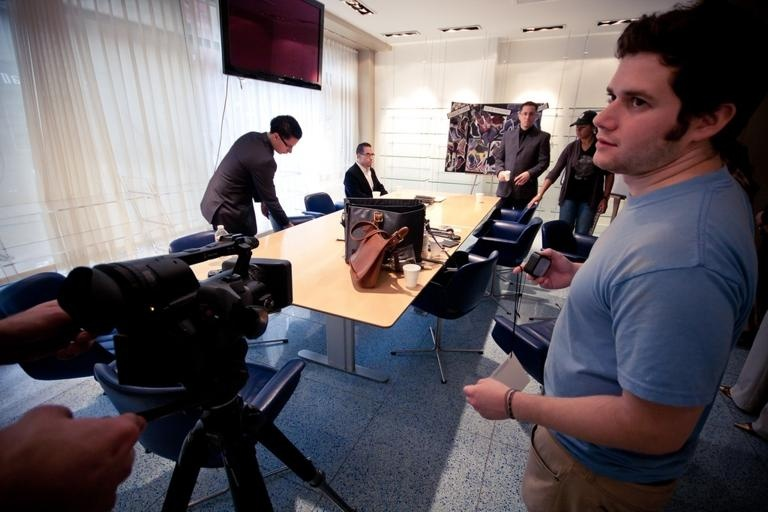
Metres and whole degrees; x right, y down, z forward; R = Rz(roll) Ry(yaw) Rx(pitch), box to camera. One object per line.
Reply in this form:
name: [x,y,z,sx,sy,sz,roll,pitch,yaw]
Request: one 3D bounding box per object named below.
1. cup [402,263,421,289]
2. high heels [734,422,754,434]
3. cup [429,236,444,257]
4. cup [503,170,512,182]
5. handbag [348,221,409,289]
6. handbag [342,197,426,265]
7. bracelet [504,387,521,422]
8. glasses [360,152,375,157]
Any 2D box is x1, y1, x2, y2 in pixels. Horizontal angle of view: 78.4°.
cup: [0.150,0.112,2.697,0.125,0.125,0.120,2,23,-1]
high heels: [2.178,1.035,2.840,0.034,0.037,0.101,-27,26,-29]
cup: [0.323,-0.054,3.045,0.116,0.112,0.078,7,29,23]
cup: [1.303,-0.830,4.951,0.114,0.088,0.113,-6,27,3]
handbag: [-0.033,-0.006,2.711,0.200,0.316,0.294,11,11,-26]
handbag: [0.003,-0.217,2.894,0.573,0.443,0.362,1,11,8]
bracelet: [0.488,0.573,1.790,0.034,0.093,0.079,-2,-9,43]
glasses: [-0.204,-1.130,5.265,0.103,0.032,0.105,-15,22,-42]
